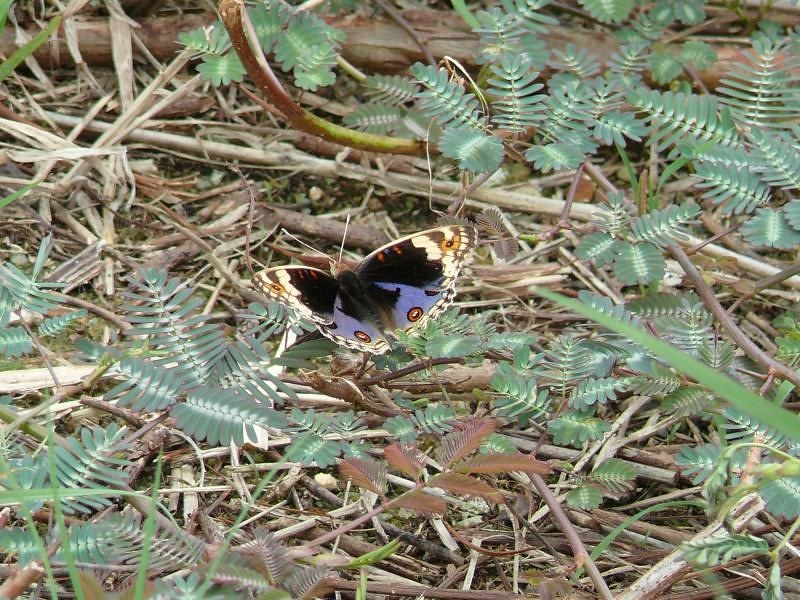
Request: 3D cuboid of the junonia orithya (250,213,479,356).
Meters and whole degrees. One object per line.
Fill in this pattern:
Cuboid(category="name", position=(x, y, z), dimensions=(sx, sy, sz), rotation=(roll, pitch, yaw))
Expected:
Cuboid(category="junonia orithya", position=(-0.038, -0.039, 2.788), dimensions=(0.689, 0.425, 0.468), rotation=(-33, 73, -17))
